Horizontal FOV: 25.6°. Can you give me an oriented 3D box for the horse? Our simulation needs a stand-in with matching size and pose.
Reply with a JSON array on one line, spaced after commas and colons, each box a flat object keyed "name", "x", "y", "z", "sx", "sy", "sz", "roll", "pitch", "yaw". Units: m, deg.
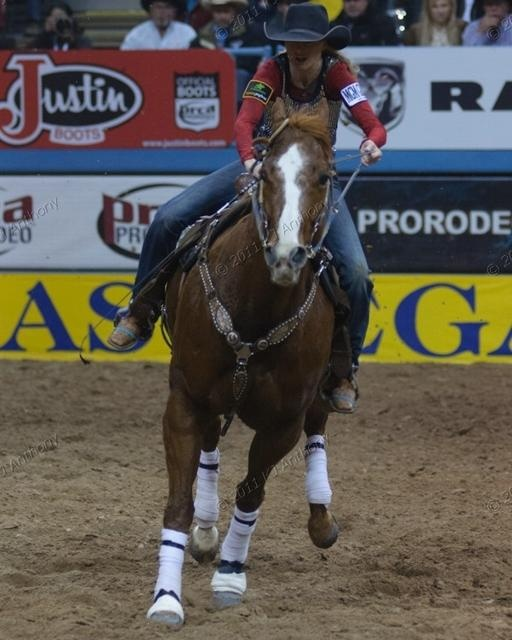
[{"name": "horse", "x": -0.006, "y": 0.245, "z": 5.492, "sx": 0.948, "sy": 2.592, "sz": 1.571, "roll": 2, "pitch": 13, "yaw": -2}]

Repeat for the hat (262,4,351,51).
[{"name": "hat", "x": 0.264, "y": -1.509, "z": 5.774, "sx": 0.443, "sy": 0.235, "sz": 0.439, "roll": 2, "pitch": 13, "yaw": 0}]
